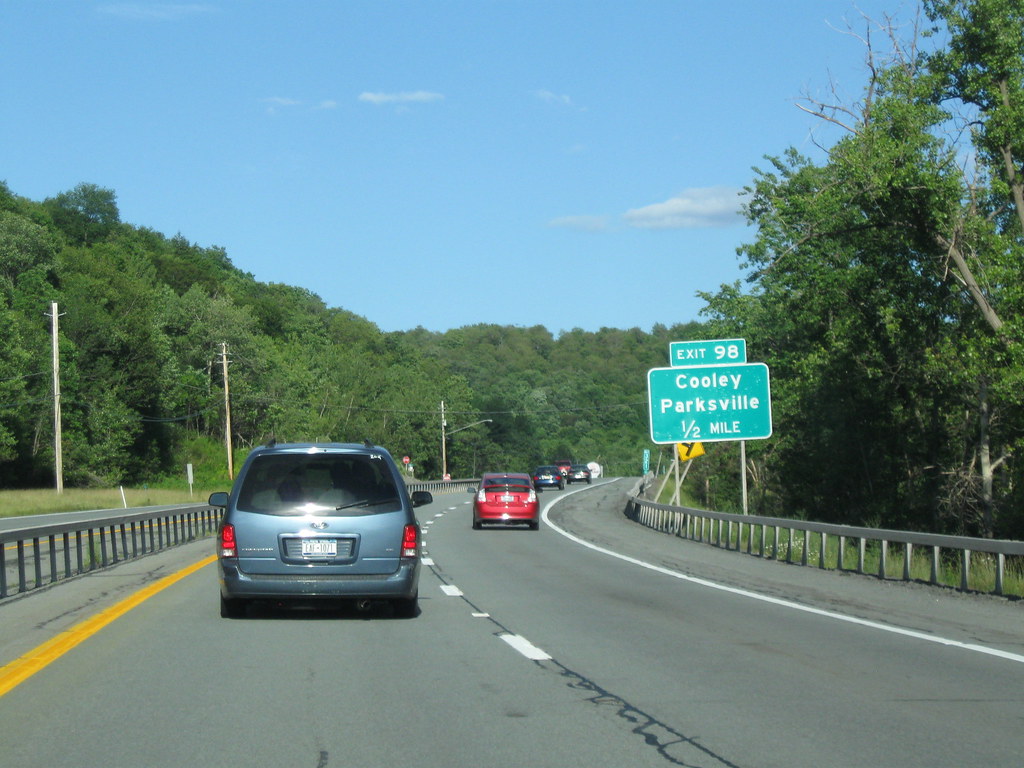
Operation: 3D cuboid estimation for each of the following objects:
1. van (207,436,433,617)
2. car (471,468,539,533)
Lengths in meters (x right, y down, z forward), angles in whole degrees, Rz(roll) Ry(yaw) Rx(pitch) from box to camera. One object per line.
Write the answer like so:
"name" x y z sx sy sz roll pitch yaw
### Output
"van" -2.494 1.807 16.612 1.756 1.335 2.679 0 4 -3
"car" -0.166 3.399 35.642 1.832 1.576 0.969 -1 -5 3
